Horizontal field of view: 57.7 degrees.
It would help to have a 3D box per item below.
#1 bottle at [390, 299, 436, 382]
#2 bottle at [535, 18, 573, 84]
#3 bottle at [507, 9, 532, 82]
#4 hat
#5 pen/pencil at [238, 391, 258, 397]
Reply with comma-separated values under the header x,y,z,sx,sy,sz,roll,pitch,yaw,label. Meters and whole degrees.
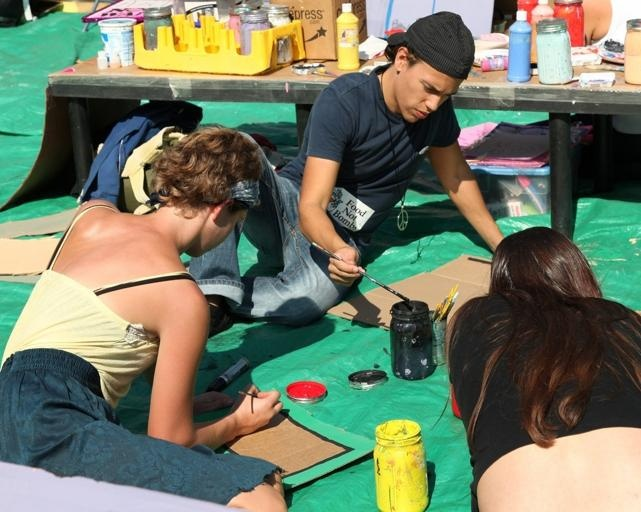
x,y,z,sx,sy,sz,roll,pitch,yaw,label
0.399,0.375,2.548,0.185,0.368,0.110,-5,21,4,bottle
1.324,-1.146,3.283,0.192,0.357,0.141,-1,21,16,bottle
1.127,-1.193,3.310,0.217,0.365,0.188,-3,23,4,bottle
0.528,-0.965,2.683,0.330,0.314,0.344,-10,18,-14,hat
-0.286,0.548,2.316,0.065,0.010,0.016,8,10,7,pen/pencil
